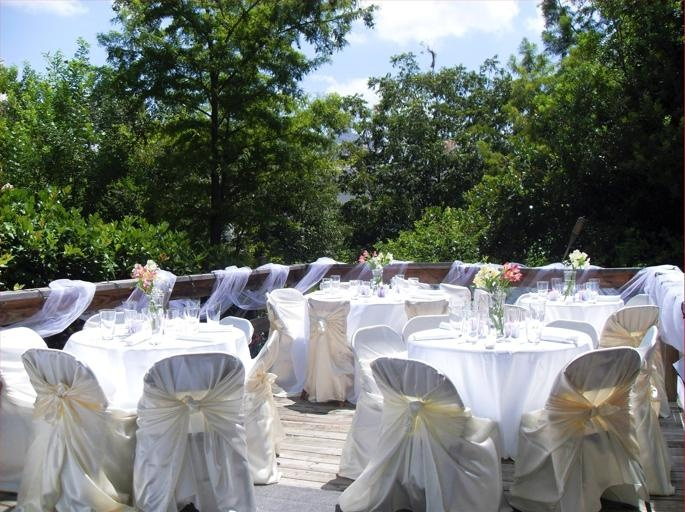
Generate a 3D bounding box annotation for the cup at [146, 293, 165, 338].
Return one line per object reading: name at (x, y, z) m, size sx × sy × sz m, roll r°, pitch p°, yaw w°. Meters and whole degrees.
cup at (-1.714, 0.541, 6.303) m, size 0.141 × 0.428 × 0.227 m, roll 3°, pitch -7°, yaw -17°

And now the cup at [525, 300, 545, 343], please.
cup at (1.732, 0.601, 6.180) m, size 0.146 × 0.365 × 0.254 m, roll -1°, pitch -7°, yaw 18°

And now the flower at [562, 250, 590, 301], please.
flower at (2.802, 0.199, 8.364) m, size 0.226 × 0.615 × 0.303 m, roll 11°, pitch 11°, yaw 6°

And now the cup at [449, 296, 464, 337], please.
cup at (1.042, 0.552, 6.261) m, size 0.136 × 0.352 × 0.300 m, roll 0°, pitch -7°, yaw 9°

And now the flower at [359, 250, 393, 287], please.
flower at (0.482, 0.169, 8.719) m, size 0.328 × 0.486 × 0.404 m, roll -2°, pitch 7°, yaw 11°

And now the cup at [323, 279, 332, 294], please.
cup at (-0.180, 0.368, 8.321) m, size 0.088 × 0.188 × 0.162 m, roll 1°, pitch -5°, yaw -14°

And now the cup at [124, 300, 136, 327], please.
cup at (-1.957, 0.534, 6.322) m, size 0.124 × 0.233 × 0.085 m, roll 2°, pitch -6°, yaw -8°

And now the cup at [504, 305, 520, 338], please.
cup at (1.516, 0.589, 6.148) m, size 0.135 × 0.302 × 0.243 m, roll -1°, pitch -7°, yaw 15°

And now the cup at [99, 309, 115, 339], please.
cup at (-2.142, 0.632, 6.242) m, size 0.127 × 0.267 × 0.232 m, roll 3°, pitch -8°, yaw -20°

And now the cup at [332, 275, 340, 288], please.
cup at (-0.100, 0.303, 8.326) m, size 0.106 × 0.154 × 0.116 m, roll 0°, pitch -2°, yaw 0°

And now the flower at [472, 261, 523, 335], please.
flower at (1.424, 0.394, 6.384) m, size 0.388 × 0.755 × 0.413 m, roll 3°, pitch 20°, yaw 22°

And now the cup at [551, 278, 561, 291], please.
cup at (2.653, 0.351, 8.496) m, size 0.121 × 0.184 × 0.140 m, roll -1°, pitch 1°, yaw 5°

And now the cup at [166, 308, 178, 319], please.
cup at (-1.565, 0.532, 6.325) m, size 0.075 × 0.092 × 0.085 m, roll 3°, pitch -2°, yaw -8°

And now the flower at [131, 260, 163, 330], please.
flower at (-1.807, 0.407, 6.453) m, size 0.199 × 0.742 × 0.237 m, roll 0°, pitch 12°, yaw 12°

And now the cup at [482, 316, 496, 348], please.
cup at (1.322, 0.689, 6.148) m, size 0.117 × 0.295 × 0.419 m, roll -1°, pitch -8°, yaw 13°
